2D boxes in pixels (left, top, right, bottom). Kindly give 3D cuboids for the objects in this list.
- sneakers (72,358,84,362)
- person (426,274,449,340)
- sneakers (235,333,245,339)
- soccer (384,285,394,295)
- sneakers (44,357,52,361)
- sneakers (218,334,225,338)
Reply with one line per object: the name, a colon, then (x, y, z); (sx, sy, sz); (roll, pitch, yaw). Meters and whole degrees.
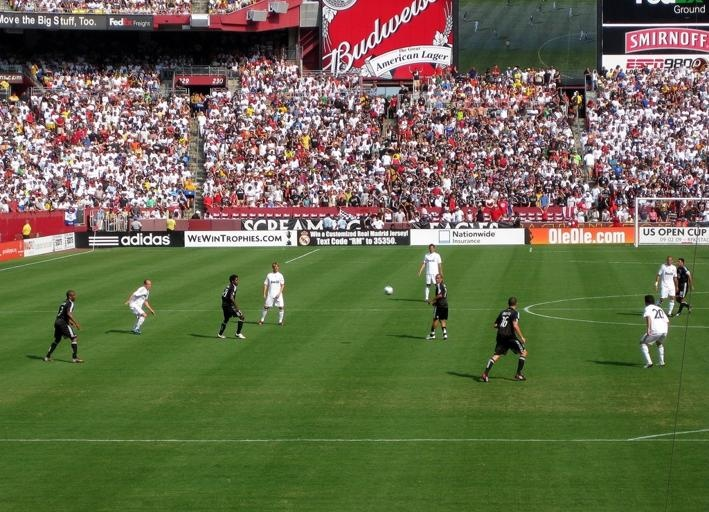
sneakers: (-11.695, 4.383, 53.863); (0.419, 0.173, 0.152); (-1, 7, 3)
person: (3.697, 2.436, 58.190); (1.174, 3.152, 1.143); (-2, -38, 16)
sneakers: (-5.118, 3.555, 56.852); (0.349, 0.145, 0.194); (2, 3, -4)
soccer: (1.661, 1.792, 63.308); (0.348, 0.329, 0.428); (-1, 3, -28)
sneakers: (-13.064, 4.379, 54.222); (0.191, 0.184, 0.120); (1, 1, 4)
sneakers: (-5.964, 3.586, 56.907); (0.307, 0.201, 0.101); (0, 15, -2)
